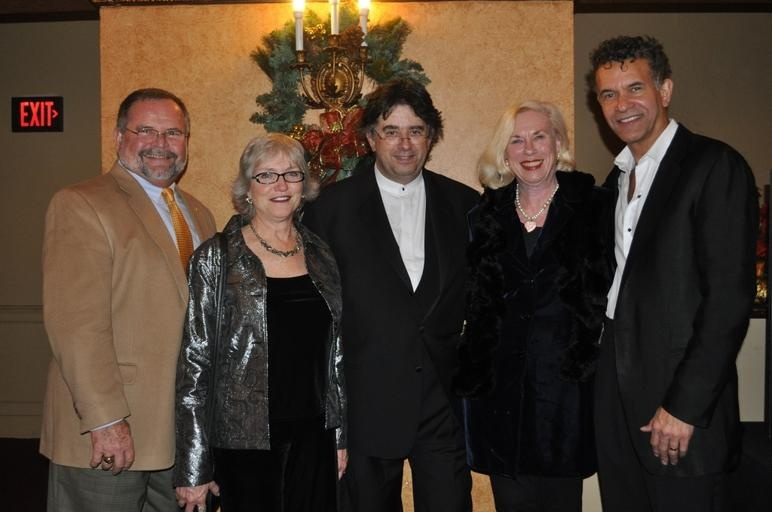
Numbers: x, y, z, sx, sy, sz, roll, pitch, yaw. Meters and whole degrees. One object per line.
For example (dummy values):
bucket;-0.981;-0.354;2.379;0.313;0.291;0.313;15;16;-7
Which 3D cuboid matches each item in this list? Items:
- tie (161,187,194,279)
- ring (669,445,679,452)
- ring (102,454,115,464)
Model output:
tie;-1.270;-0.121;4.282;0.093;0.689;0.077;-6;-38;-32
ring;1.591;1.061;3.899;0.032;0.014;0.037;1;-6;2
ring;-1.576;1.147;4.001;0.045;0.050;0.022;0;1;-10
